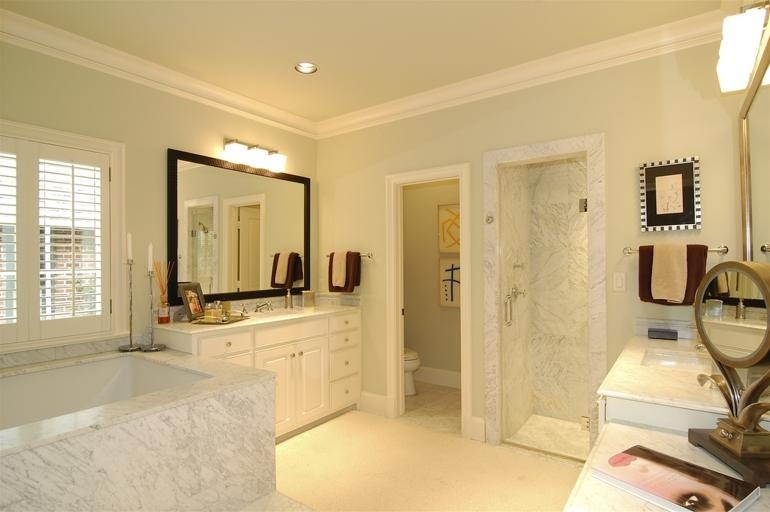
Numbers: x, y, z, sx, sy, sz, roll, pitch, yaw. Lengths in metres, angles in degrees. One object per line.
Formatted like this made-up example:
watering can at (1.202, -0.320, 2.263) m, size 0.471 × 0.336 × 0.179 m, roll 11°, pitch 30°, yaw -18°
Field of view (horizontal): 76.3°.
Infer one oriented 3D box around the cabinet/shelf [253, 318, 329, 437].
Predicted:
cabinet/shelf at (-0.954, 1.053, 4.445) m, size 0.546 × 1.001 × 0.916 m, roll 1°, pitch 1°, yaw 33°

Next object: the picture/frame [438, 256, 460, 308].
picture/frame at (0.744, 0.290, 5.645) m, size 0.295 × 0.601 × 0.115 m, roll 6°, pitch 12°, yaw 34°

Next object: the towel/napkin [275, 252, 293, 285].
towel/napkin at (-1.019, 0.114, 4.846) m, size 0.203 × 0.264 × 0.071 m, roll 2°, pitch -7°, yaw 36°

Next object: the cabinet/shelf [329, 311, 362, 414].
cabinet/shelf at (-0.390, 1.018, 4.787) m, size 0.156 × 0.946 × 0.545 m, roll 5°, pitch 11°, yaw 28°

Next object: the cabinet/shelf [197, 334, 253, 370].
cabinet/shelf at (-1.256, 0.722, 3.884) m, size 0.275 × 0.377 × 0.413 m, roll -1°, pitch -3°, yaw 27°

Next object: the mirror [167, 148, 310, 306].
mirror at (-1.385, -0.271, 4.484) m, size 0.039 × 1.278 × 1.648 m, roll 2°, pitch 4°, yaw 43°

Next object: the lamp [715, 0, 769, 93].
lamp at (1.991, -1.154, 2.741) m, size 0.202 × 0.399 × 0.297 m, roll 5°, pitch 11°, yaw 32°

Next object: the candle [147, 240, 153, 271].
candle at (-1.845, 0.003, 3.856) m, size 0.054 × 0.222 × 0.293 m, roll -6°, pitch 10°, yaw -25°

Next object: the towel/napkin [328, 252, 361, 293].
towel/napkin at (-0.393, 0.161, 4.897) m, size 0.433 × 0.475 × 0.259 m, roll 0°, pitch 0°, yaw 31°

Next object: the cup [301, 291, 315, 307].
cup at (-0.773, 0.438, 4.964) m, size 0.143 × 0.167 × 0.143 m, roll 0°, pitch -3°, yaw 0°

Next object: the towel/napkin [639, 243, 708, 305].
towel/napkin at (2.014, 0.114, 3.409) m, size 0.431 × 0.415 × 0.131 m, roll 4°, pitch 5°, yaw 39°

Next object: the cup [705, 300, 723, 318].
cup at (1.600, 0.255, 2.386) m, size 0.086 × 0.090 × 0.083 m, roll 1°, pitch -3°, yaw 0°

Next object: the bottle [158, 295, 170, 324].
bottle at (-1.784, 0.426, 3.954) m, size 0.073 × 0.224 × 0.103 m, roll -3°, pitch 10°, yaw -12°

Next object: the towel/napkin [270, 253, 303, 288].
towel/napkin at (-1.001, 0.136, 4.922) m, size 0.341 × 0.417 × 0.247 m, roll 3°, pitch 5°, yaw 12°
